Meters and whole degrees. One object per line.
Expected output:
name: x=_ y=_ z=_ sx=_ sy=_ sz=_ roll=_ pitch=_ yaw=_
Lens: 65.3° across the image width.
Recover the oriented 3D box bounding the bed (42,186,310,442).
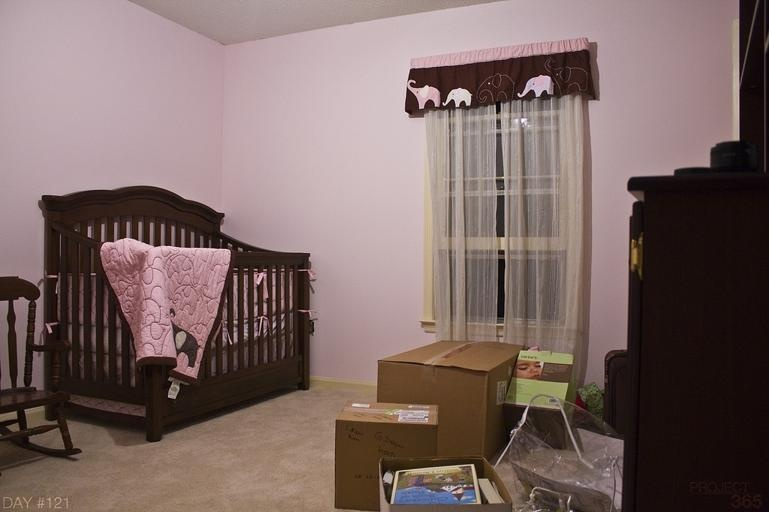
bed: x=-1.444 y=0.313 z=4.537 sx=1.059 sy=1.637 sz=1.709 roll=0 pitch=0 yaw=28

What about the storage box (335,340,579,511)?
storage box: x=0.290 y=0.864 z=3.246 sx=0.710 sy=0.560 sz=1.309 roll=4 pitch=8 yaw=21
